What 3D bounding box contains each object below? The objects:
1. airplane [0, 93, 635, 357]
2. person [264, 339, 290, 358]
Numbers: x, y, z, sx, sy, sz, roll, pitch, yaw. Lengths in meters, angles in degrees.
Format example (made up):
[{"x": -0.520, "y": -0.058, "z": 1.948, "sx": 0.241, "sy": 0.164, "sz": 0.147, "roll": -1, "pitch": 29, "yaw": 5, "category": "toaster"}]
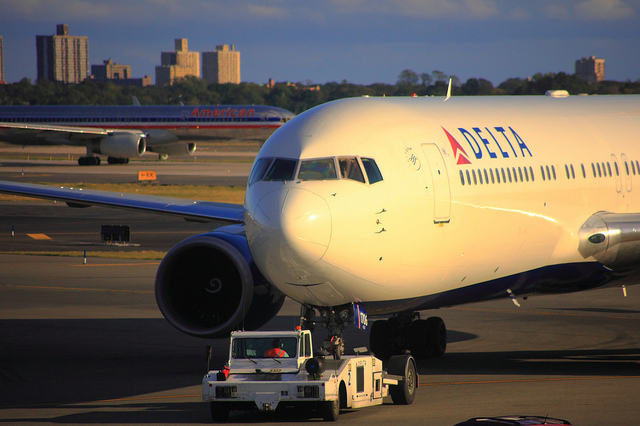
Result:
[{"x": 2.405, "y": 0.416, "z": 32.637, "sx": 13.438, "sy": 7.989, "sz": 6.612, "roll": 0, "pitch": 4, "yaw": -18, "category": "airplane"}, {"x": -1.023, "y": 3.544, "z": 29.259, "sx": 0.892, "sy": 0.507, "sz": 0.392, "roll": 0, "pitch": -4, "yaw": 9, "category": "person"}]
